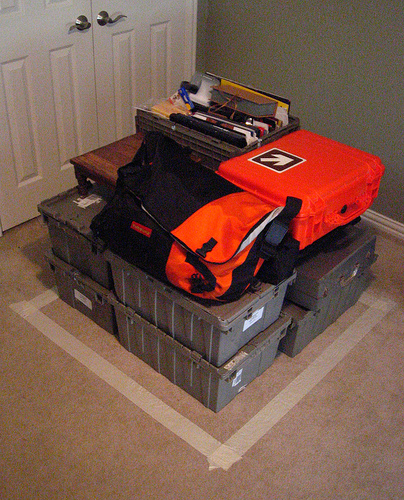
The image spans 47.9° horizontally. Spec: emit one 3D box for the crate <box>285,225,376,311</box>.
[{"bbox_3d":[0.468,0.094,1.901,0.341,0.234,0.558,16,27,35],"label":"crate"}]

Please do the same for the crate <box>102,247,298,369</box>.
[{"bbox_3d":[0.001,0.181,1.481,0.511,0.170,0.380,-23,42,-32],"label":"crate"}]

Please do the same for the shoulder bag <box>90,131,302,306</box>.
[{"bbox_3d":[-0.071,-0.092,1.403,0.614,0.216,0.492,32,68,14],"label":"shoulder bag"}]

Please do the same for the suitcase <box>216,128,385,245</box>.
[{"bbox_3d":[0.313,-0.246,1.577,0.479,0.162,0.462,-31,52,-31],"label":"suitcase"}]
